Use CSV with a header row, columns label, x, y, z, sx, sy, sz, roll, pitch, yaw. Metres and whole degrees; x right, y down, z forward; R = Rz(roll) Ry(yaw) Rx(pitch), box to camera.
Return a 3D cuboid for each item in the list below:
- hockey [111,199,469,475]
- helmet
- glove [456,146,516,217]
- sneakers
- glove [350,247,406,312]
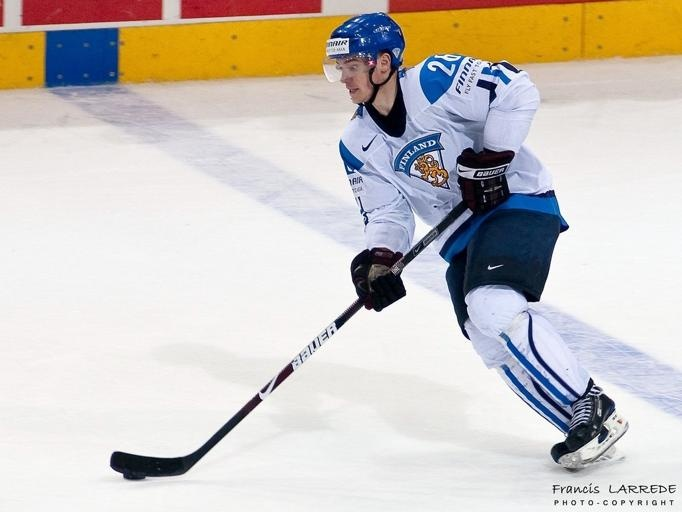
label,x,y,z,sx,sy,sz,roll,pitch,yaw
hockey,-0.189,0.351,3.431,1.560,0.111,0.234,-35,24,-20
helmet,0.079,-0.793,3.192,0.313,0.198,0.235,-25,31,-37
glove,0.519,-0.289,3.069,0.241,0.221,0.166,-11,34,6
sneakers,0.795,0.541,2.755,0.236,0.274,0.102,-1,-3,13
glove,0.134,0.080,3.141,0.239,0.217,0.102,-27,-37,36
